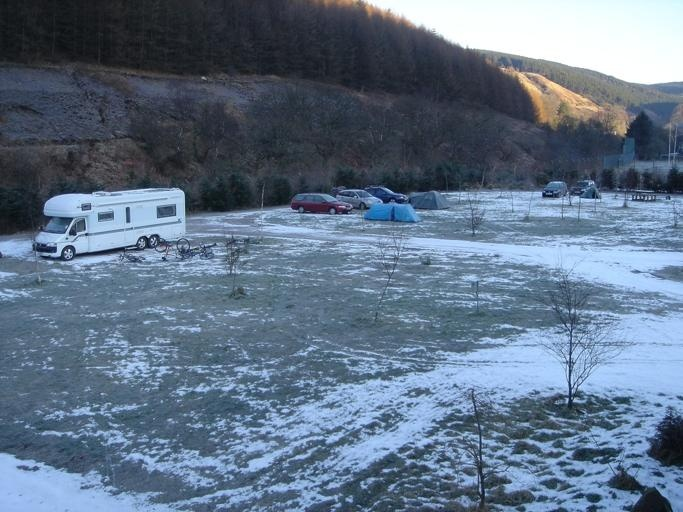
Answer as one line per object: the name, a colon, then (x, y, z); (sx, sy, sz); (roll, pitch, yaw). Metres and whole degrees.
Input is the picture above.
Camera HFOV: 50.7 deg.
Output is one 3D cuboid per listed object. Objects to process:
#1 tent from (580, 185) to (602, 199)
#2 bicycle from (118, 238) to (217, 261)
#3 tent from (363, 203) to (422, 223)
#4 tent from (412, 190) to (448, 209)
tent: (22.998, -5.562, 66.796); (1.643, 1.432, 2.855); (0, 7, 28)
bicycle: (-8.580, -0.259, 34.835); (3.968, 1.642, 0.892); (-2, 4, 4)
tent: (3.290, -2.809, 47.486); (3.464, 1.067, 1.102); (2, 13, 7)
tent: (6.706, -4.269, 55.525); (2.847, 1.375, 1.580); (1, 13, 2)
